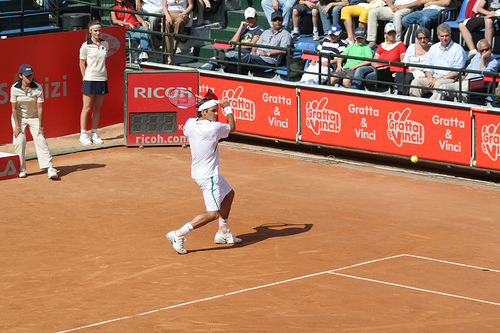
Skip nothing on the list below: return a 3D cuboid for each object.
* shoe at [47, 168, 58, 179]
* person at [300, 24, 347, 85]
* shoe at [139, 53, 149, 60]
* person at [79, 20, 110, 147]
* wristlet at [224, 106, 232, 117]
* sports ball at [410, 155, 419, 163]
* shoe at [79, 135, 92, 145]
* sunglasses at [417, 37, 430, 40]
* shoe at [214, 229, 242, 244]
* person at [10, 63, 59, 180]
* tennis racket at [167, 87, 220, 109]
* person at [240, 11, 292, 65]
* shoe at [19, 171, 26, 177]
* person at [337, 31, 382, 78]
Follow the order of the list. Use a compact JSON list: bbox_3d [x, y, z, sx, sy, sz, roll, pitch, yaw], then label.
[{"bbox_3d":[-4.605,0.174,20.678,0.235,0.274,0.357,-2,12,-13],"label":"shoe"},{"bbox_3d":[2.023,-3.018,24.286,1.002,0.952,2.148,20,51,19],"label":"person"},{"bbox_3d":[-3.157,-3.283,26.498,0.292,0.153,0.932,-1,11,-7],"label":"shoe"},{"bbox_3d":[-4.079,-2.156,23.107,0.762,3.215,0.541,-2,12,-11],"label":"person"},{"bbox_3d":[-0.422,-1.085,17.417,0.155,0.211,0.211,0,11,-2],"label":"wristlet"},{"bbox_3d":[4.036,-0.157,21.657,0.214,0.241,0.435,3,11,10],"label":"sports ball"},{"bbox_3d":[-4.325,-0.680,23.294,0.394,0.239,0.154,4,12,16],"label":"shoe"},{"bbox_3d":[4.449,-3.260,22.655,0.245,0.070,0.123,2,11,8],"label":"sunglasses"},{"bbox_3d":[-0.445,1.422,17.702,0.624,0.291,0.218,1,5,-14],"label":"shoe"},{"bbox_3d":[-5.057,-1.005,20.515,0.926,2.621,0.505,0,12,-3],"label":"person"},{"bbox_3d":[-1.732,-1.810,23.494,0.818,0.549,0.358,4,12,17],"label":"tennis racket"},{"bbox_3d":[0.385,-3.388,24.311,1.084,1.305,2.004,18,34,27],"label":"person"},{"bbox_3d":[-5.314,0.183,20.796,0.103,0.138,0.212,5,12,20],"label":"shoe"},{"bbox_3d":[2.908,-2.920,23.558,0.666,0.800,1.441,26,52,27],"label":"person"}]
